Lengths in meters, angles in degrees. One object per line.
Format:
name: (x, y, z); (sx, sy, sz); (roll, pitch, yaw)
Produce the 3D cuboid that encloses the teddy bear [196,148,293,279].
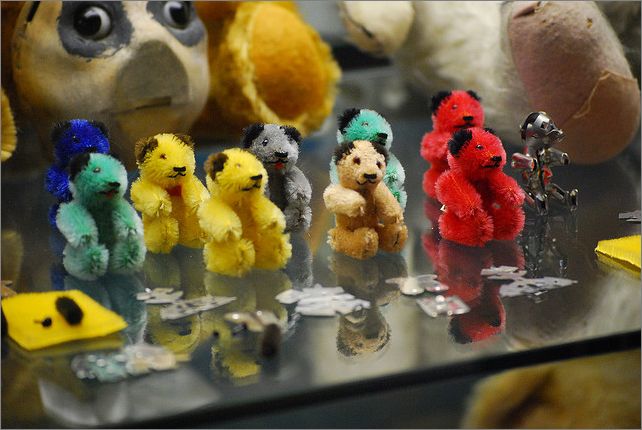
teddy bear: (-0.149, 0.002, 1.878); (0.179, 0.258, 0.205); (7, 15, 42)
